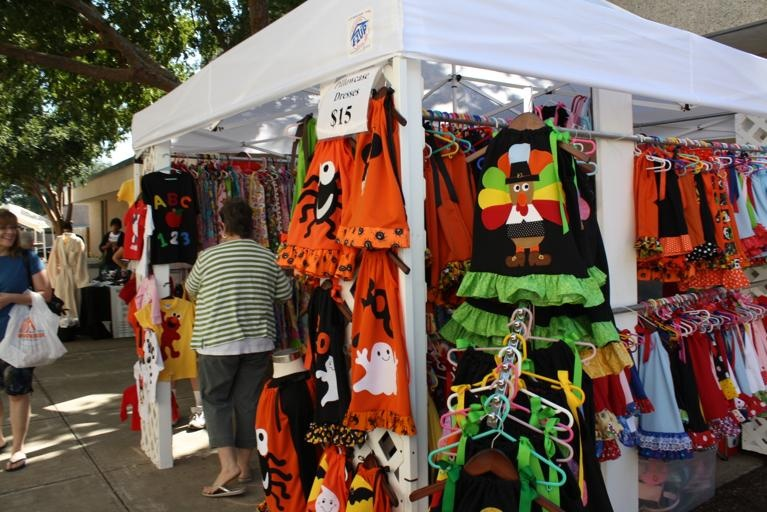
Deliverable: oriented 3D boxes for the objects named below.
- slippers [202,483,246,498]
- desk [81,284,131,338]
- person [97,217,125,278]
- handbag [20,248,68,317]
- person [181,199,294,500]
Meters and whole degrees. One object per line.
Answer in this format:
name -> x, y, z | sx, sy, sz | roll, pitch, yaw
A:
slippers -> -1.398, 2.091, 5.035 | 0.319, 0.086, 0.150 | 4, -9, -14
desk -> -5.499, 1.095, 11.105 | 1.104, 1.105, 0.548 | 0, 7, 6
person -> -5.724, -0.195, 11.883 | 0.445, 1.224, 3.455 | -4, 8, -26
handbag -> -3.229, 0.328, 5.459 | 0.281, 0.559, 0.235 | 0, 20, -36
person -> -1.259, 0.986, 4.954 | 0.805, 2.265, 0.315 | -3, 7, -17
